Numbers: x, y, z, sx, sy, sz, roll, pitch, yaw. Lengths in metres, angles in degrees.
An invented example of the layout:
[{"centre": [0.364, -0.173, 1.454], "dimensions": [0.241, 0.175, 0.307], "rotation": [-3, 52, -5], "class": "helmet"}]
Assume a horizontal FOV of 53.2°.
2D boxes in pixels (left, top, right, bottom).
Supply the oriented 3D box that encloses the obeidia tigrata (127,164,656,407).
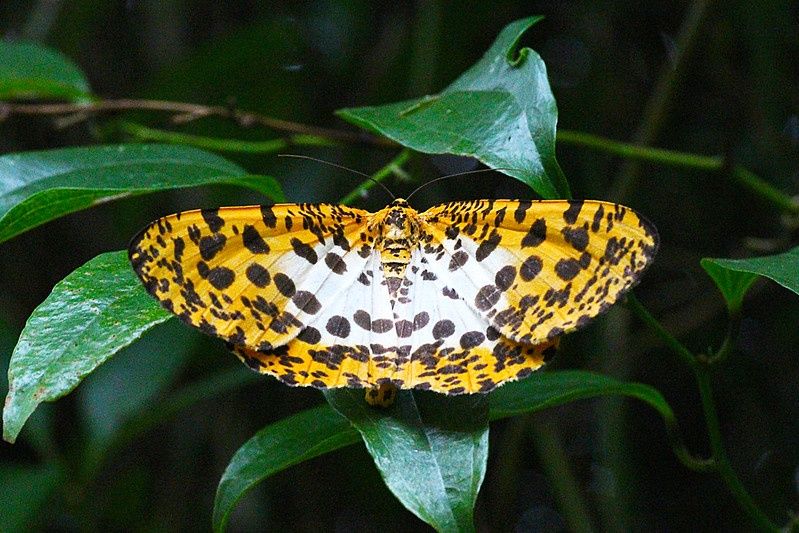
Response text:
[{"centre": [-0.005, 0.058, 2.020], "dimensions": [1.283, 0.112, 0.569], "rotation": [-2, -62, -1], "class": "obeidia tigrata"}]
